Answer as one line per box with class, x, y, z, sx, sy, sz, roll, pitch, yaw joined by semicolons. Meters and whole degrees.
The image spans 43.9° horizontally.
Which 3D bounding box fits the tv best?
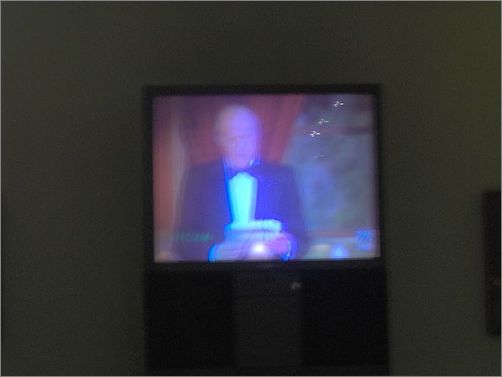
tv;0.053;0.004;2.694;0.727;0.608;0.100;-1;-2;1
